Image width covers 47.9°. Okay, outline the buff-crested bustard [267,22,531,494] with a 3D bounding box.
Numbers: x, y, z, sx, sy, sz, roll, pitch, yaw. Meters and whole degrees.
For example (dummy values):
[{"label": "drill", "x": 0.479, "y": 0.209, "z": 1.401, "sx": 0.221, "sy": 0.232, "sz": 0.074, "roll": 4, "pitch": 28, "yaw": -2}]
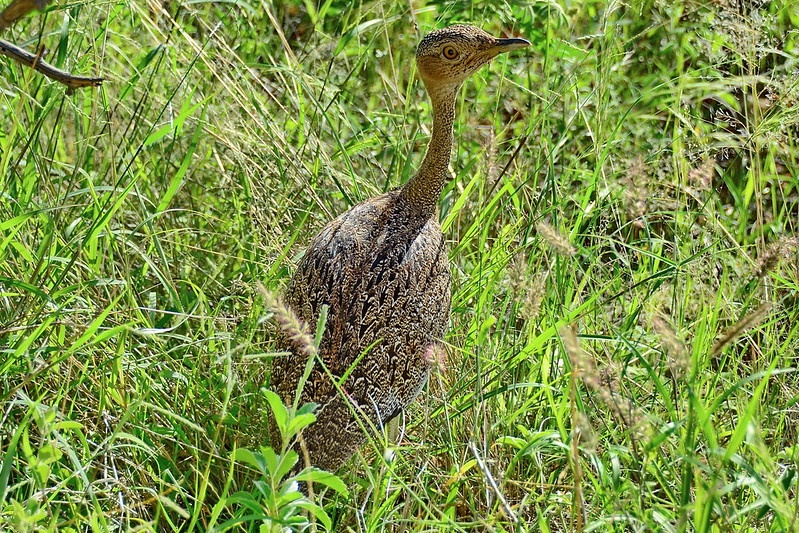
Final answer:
[{"label": "buff-crested bustard", "x": -0.119, "y": -0.079, "z": 4.505, "sx": 0.805, "sy": 1.990, "sz": 1.739, "roll": 11, "pitch": 24, "yaw": 8}]
